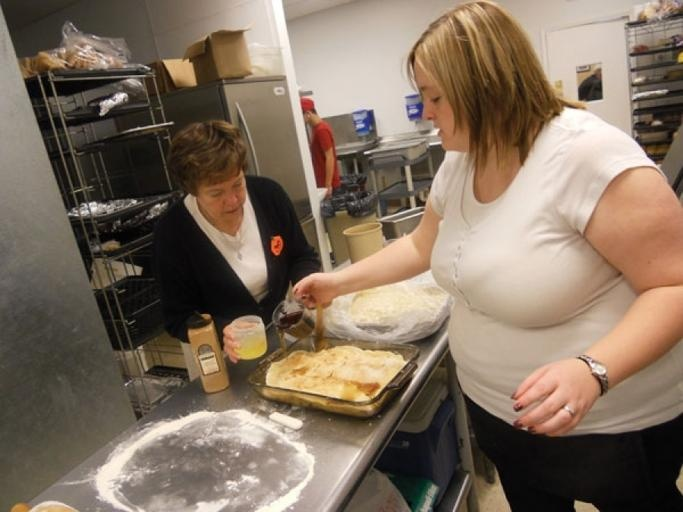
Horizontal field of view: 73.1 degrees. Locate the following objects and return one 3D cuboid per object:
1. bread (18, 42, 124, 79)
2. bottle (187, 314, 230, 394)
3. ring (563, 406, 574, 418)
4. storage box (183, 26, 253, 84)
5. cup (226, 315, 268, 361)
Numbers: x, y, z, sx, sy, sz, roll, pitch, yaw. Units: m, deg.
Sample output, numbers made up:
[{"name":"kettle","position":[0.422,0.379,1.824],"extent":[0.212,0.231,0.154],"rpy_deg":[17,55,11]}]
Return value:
[{"name":"bread","position":[-1.435,-1.058,2.476],"extent":[0.514,0.152,0.286],"rpy_deg":[-20,22,-27]},{"name":"bottle","position":[-0.455,0.346,1.580],"extent":[0.088,0.290,0.081],"rpy_deg":[-8,19,3]},{"name":"ring","position":[0.478,0.330,0.971],"extent":[0.016,0.016,0.016],"rpy_deg":[-46,4,4]},{"name":"storage box","position":[-0.870,-1.410,3.285],"extent":[0.423,0.325,0.359],"rpy_deg":[-24,22,-40]},{"name":"cup","position":[-0.332,0.286,1.632],"extent":[0.139,0.130,0.144],"rpy_deg":[-11,7,1]}]
